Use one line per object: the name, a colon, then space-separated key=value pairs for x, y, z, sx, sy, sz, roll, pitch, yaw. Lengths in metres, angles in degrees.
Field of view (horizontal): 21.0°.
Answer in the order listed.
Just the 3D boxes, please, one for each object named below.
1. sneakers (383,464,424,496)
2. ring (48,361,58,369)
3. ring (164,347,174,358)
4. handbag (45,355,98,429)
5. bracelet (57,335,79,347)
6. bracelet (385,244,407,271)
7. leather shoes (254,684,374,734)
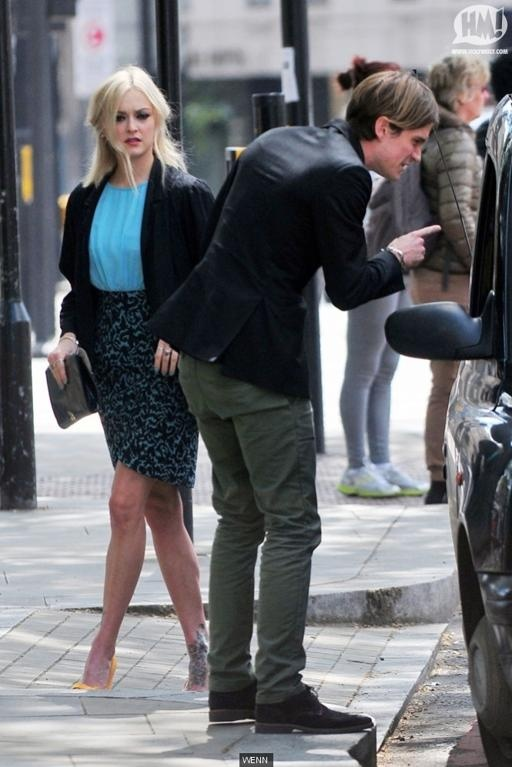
sneakers: x=0.846 y=0.564 z=7.925 sx=0.299 sy=0.121 sz=0.100 roll=22 pitch=16 yaw=13
ring: x=-0.604 y=-0.051 z=4.150 sx=0.012 sy=0.028 sz=0.021 roll=-14 pitch=22 yaw=-26
ring: x=-0.248 y=-0.085 z=3.990 sx=0.022 sy=0.011 sz=0.029 roll=1 pitch=35 yaw=-7
handbag: x=-0.596 y=0.038 z=4.184 sx=0.078 sy=0.206 sz=0.224 roll=7 pitch=11 yaw=16
bracelet: x=-0.565 y=-0.122 z=4.255 sx=0.042 sy=0.049 sz=0.025 roll=-10 pitch=-12 yaw=-27
bracelet: x=0.371 y=-0.321 z=3.606 sx=0.027 sy=0.061 sz=0.049 roll=-32 pitch=24 yaw=-6
leather shoes: x=0.190 y=0.840 z=3.573 sx=0.360 sy=0.141 sz=0.117 roll=-1 pitch=-4 yaw=-10
